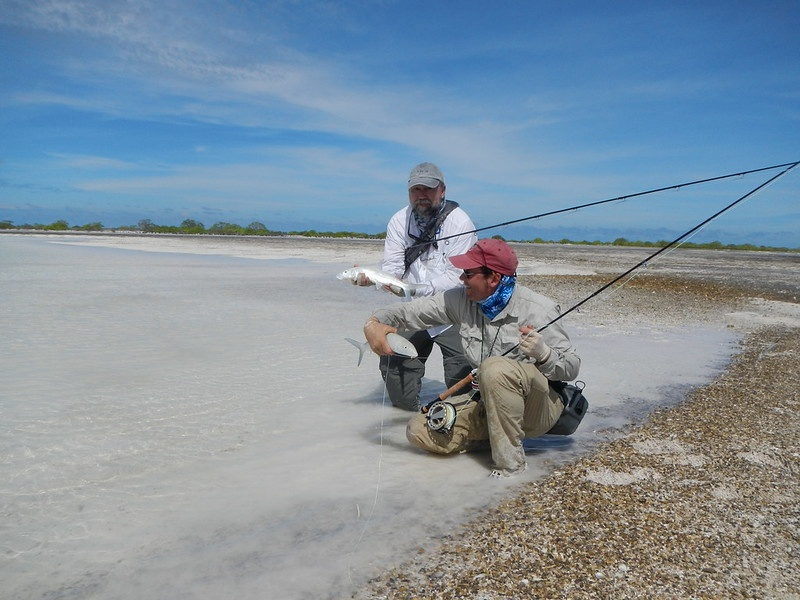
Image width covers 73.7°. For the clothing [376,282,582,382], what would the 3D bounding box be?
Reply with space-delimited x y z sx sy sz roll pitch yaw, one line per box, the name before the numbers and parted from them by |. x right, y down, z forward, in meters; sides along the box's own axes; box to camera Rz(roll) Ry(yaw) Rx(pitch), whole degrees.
clothing | 0.790 0.238 4.918 1.885 0.696 0.919 18 34 36

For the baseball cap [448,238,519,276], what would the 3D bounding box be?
baseball cap | 0.694 -0.378 4.495 0.651 0.227 0.320 0 23 -8

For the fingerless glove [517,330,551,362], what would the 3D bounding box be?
fingerless glove | 1.116 0.374 4.390 0.199 0.169 0.282 19 -9 40

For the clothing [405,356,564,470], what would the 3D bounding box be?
clothing | 0.916 1.027 5.060 1.517 0.718 1.229 2 -7 -42

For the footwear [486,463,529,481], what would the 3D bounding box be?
footwear | 0.982 1.509 4.663 0.398 0.085 0.138 -2 14 -18
